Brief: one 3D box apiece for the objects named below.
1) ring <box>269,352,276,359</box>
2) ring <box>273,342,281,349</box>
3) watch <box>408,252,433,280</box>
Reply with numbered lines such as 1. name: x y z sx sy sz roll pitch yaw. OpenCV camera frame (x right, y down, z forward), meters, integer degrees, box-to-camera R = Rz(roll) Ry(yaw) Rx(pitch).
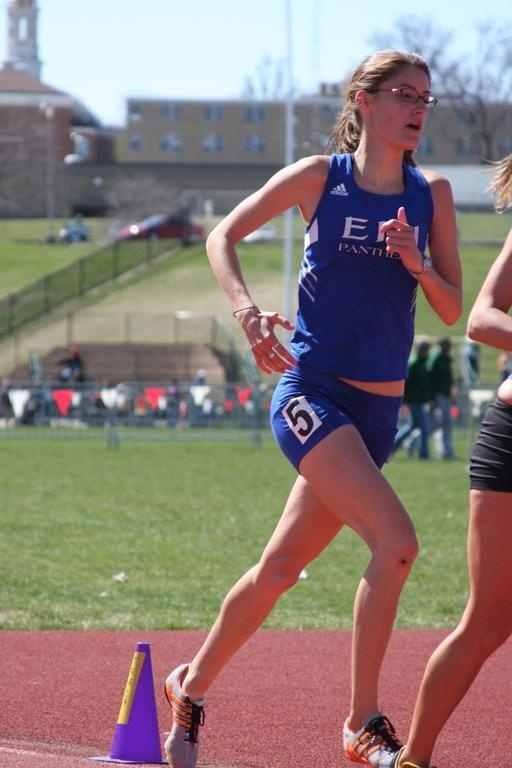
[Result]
1. ring: 0.047 -0.075 3.727 0.004 0.014 0.017 2 -4 -41
2. ring: 0.061 -0.103 3.715 0.018 0.019 0.007 5 22 -4
3. watch: 0.480 -0.331 3.796 0.072 0.064 0.039 -7 9 -32
